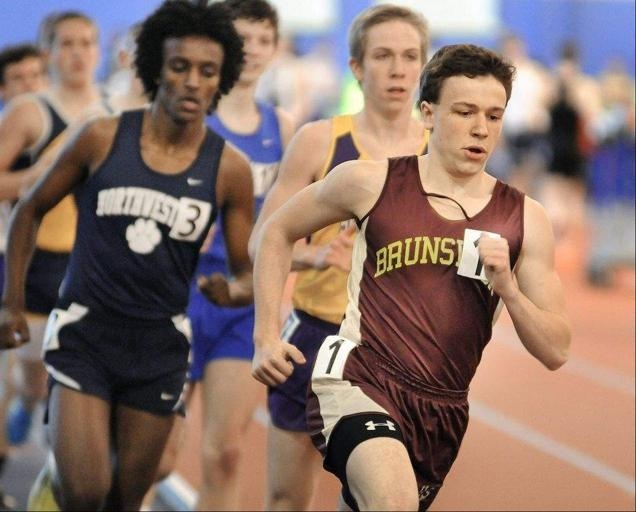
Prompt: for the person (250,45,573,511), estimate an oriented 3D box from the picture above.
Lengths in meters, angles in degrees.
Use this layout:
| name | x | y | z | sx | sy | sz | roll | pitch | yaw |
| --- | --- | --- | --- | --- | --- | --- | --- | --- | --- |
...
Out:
| name | x | y | z | sx | sy | sz | roll | pitch | yaw |
| --- | --- | --- | --- | --- | --- | --- | --- | --- | --- |
| person | 0.371 | 0.142 | 3.345 | 1.220 | 1.842 | 0.750 | 0 | 12 | -5 |
